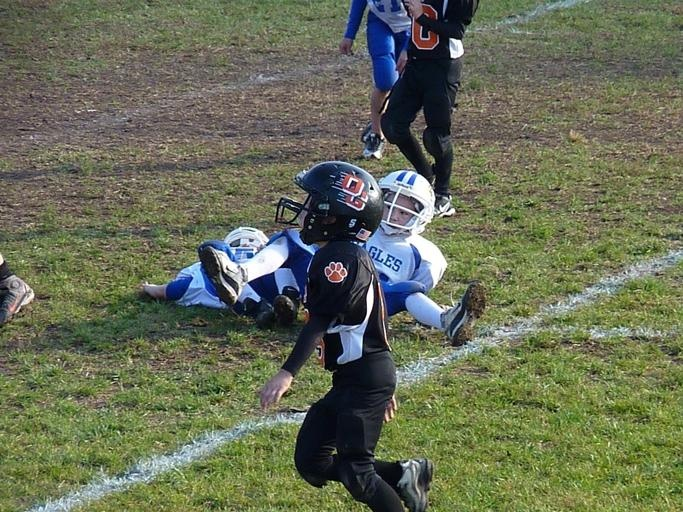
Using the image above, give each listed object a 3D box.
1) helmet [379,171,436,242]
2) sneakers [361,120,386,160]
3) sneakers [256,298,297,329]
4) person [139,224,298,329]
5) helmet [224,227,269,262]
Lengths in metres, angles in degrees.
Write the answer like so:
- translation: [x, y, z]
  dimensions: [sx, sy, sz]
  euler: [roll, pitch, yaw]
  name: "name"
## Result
- translation: [0.562, -0.464, 9.761]
  dimensions: [0.576, 0.394, 0.610]
  euler: [18, 20, 13]
  name: "helmet"
- translation: [0.360, -1.373, 12.910]
  dimensions: [0.213, 0.456, 0.226]
  euler: [1, -17, -17]
  name: "sneakers"
- translation: [-0.594, 0.521, 9.886]
  dimensions: [0.184, 0.489, 0.227]
  euler: [39, 63, 9]
  name: "sneakers"
- translation: [-0.960, 0.298, 10.352]
  dimensions: [1.028, 1.205, 0.440]
  euler: [15, 63, 0]
  name: "person"
- translation: [-0.880, -0.097, 10.159]
  dimensions: [0.407, 0.279, 0.276]
  euler: [-11, -12, 11]
  name: "helmet"
